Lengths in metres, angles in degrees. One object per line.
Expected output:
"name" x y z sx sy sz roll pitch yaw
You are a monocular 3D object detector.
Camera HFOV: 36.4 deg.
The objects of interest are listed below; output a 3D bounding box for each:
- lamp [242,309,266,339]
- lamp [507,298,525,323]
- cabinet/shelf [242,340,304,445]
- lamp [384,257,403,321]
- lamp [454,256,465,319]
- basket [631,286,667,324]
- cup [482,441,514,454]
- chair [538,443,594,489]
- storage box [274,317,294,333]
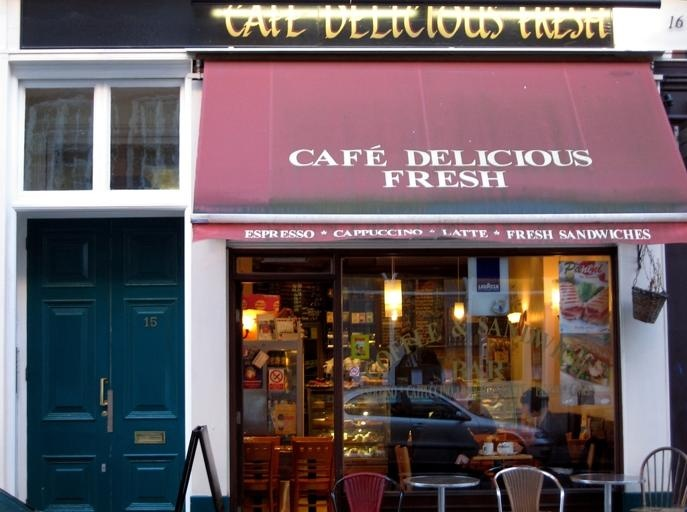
"lamp" -1.140 0.870 13.058 0.350 0.358 0.317 1 -10 -29
"lamp" 2.095 0.687 12.705 0.202 0.120 0.294 0 -32 -12
"cabinet/shelf" -0.820 1.786 13.653 0.967 1.344 0.749 -4 -11 16
"lamp" 0.610 0.438 12.792 0.329 0.868 0.334 1 -36 0
"lamp" 1.413 0.414 12.677 0.127 0.756 0.163 1 -10 -29
"basket" 3.580 0.583 12.318 0.442 0.396 0.404 13 8 40
"cup" 1.864 2.341 12.615 0.285 0.107 0.172 1 -8 1
"chair" 2.705 2.570 12.778 0.595 0.634 0.481 2 -7 2
"storage box" -0.744 0.900 13.345 0.266 0.184 0.180 -1 -9 -15
